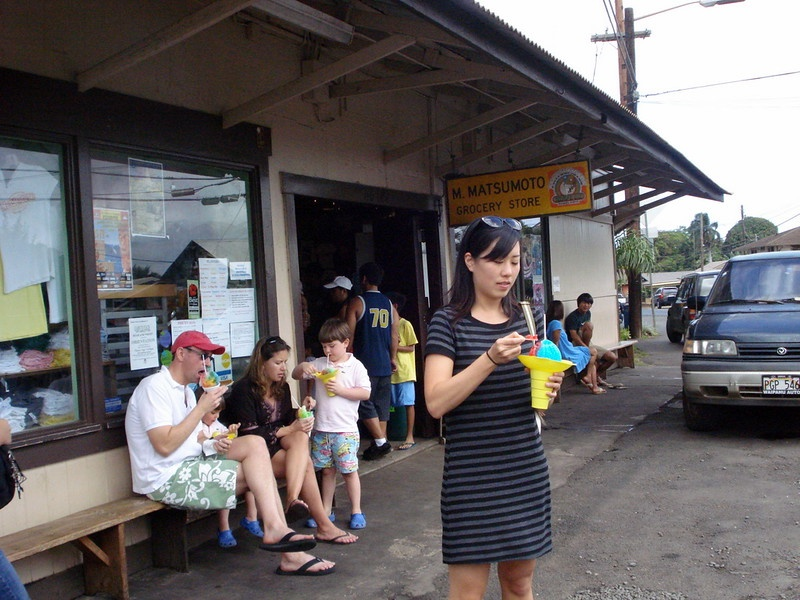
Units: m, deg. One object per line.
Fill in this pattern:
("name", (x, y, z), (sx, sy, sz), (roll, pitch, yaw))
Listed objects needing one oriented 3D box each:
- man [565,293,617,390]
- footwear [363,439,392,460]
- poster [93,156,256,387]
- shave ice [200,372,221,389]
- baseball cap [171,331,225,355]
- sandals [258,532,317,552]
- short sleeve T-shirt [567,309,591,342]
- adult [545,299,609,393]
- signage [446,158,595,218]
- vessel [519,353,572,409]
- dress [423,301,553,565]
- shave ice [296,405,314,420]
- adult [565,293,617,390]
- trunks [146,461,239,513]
("man", (3.297, 0.710, 11.128), (0.992, 1.738, 0.723), (12, 17, 28))
("footwear", (-0.283, 1.752, 7.415), (0.368, 0.178, 0.146), (-19, -2, -38))
("poster", (-1.927, -0.235, 5.256), (0.086, 2.122, 1.970), (-1, 4, 37))
("shave ice", (-1.408, 0.569, 4.668), (0.141, 0.147, 0.141), (-1, 2, 21))
("baseball cap", (-1.531, 0.315, 4.774), (0.314, 0.142, 0.200), (6, -5, -6))
("sandals", (-0.783, 1.737, 4.523), (0.429, 0.129, 0.154), (-5, -7, 0))
("short sleeve T-shirt", (3.101, 0.443, 11.257), (0.490, 0.845, 0.495), (-1, 5, 12))
("adult", (3.158, 0.702, 10.935), (0.807, 1.601, 0.627), (14, 20, 12))
("signage", (1.503, -1.442, 8.203), (1.751, 0.626, 0.247), (-4, -4, 30))
("vessel", (0.671, 0.372, 3.044), (0.258, 0.211, 0.257), (6, -5, -3))
("dress", (0.438, 0.650, 3.125), (0.588, 1.242, 0.372), (-3, 6, 2))
("shave ice", (-0.755, 0.888, 5.031), (0.101, 0.086, 0.102), (-5, -9, 25))
("adult", (3.279, 0.695, 11.099), (0.923, 1.642, 0.676), (12, 17, 32))
("trunks", (-1.499, 1.335, 4.652), (0.507, 0.183, 0.367), (5, 19, -1))
